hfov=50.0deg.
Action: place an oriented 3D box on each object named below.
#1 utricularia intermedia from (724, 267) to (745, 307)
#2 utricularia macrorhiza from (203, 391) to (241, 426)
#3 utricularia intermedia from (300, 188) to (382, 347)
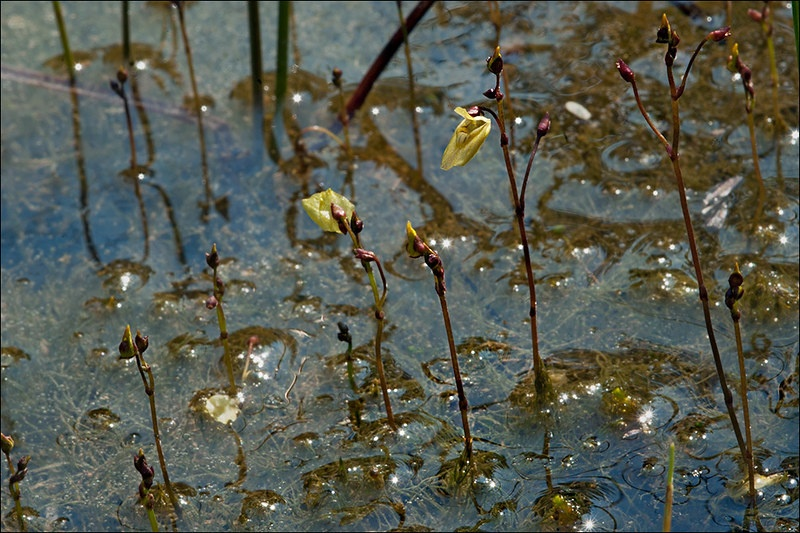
[{"bbox_3d":[1.013,0.069,2.617,0.051,0.047,0.131,4,77,19],"label":"utricularia intermedia"},{"bbox_3d":[-0.635,0.514,3.064,0.130,0.056,0.101,-10,49,-11],"label":"utricularia macrorhiza"},{"bbox_3d":[-0.173,-0.026,2.781,0.227,0.310,0.558,2,88,-1],"label":"utricularia intermedia"}]
